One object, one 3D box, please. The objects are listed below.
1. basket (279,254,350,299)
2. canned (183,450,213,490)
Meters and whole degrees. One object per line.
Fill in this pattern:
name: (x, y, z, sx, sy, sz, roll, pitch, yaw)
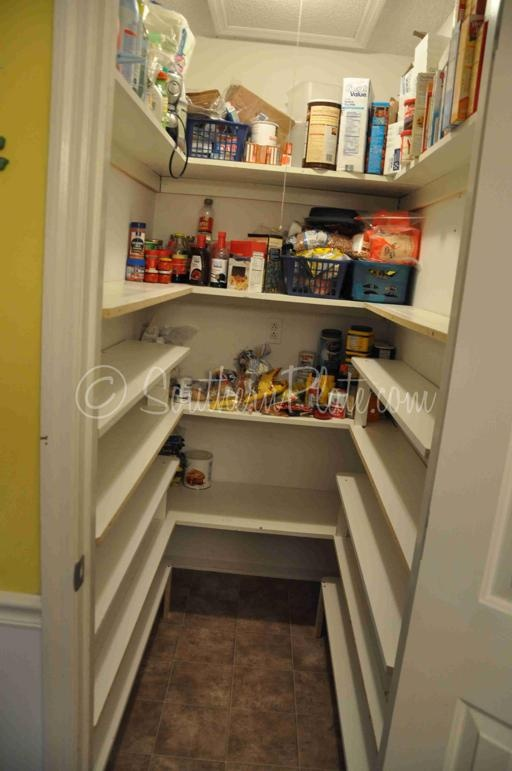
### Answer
basket: (0.231, -0.424, 2.080, 0.153, 0.142, 0.238, 3, 11, -2)
canned: (-0.280, 0.410, 2.625, 0.149, 0.179, 0.157, 7, 11, 8)
